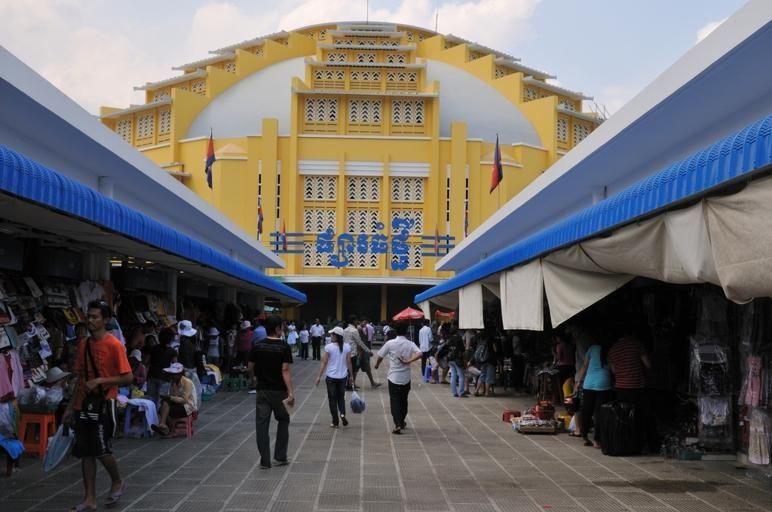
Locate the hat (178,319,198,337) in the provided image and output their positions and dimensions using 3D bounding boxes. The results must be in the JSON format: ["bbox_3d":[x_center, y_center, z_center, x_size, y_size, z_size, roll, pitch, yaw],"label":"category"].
[{"bbox_3d":[-4.773,1.728,15.169,0.448,0.211,0.563,-1,0,-27],"label":"hat"}]

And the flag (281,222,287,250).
[{"bbox_3d":[-7.602,-1.438,47.194,0.498,2.112,0.323,1,-10,2],"label":"flag"}]

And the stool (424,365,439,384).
[{"bbox_3d":[1.669,4.333,23.494,0.549,0.916,0.558,0,-1,-1],"label":"stool"}]

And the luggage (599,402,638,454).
[{"bbox_3d":[4.244,3.075,11.475,0.668,0.930,0.557,-2,-14,0],"label":"luggage"}]

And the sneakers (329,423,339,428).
[{"bbox_3d":[-1.081,3.540,13.414,0.150,0.106,0.196,1,-11,-2],"label":"sneakers"}]

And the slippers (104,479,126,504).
[{"bbox_3d":[-3.644,3.173,8.592,0.139,0.100,0.362,-5,4,0],"label":"slippers"}]

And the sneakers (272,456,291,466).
[{"bbox_3d":[-1.712,3.312,10.401,0.274,0.125,0.097,1,0,-30],"label":"sneakers"}]

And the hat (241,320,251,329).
[{"bbox_3d":[-4.542,2.227,20.726,0.295,0.309,0.363,0,-7,-26],"label":"hat"}]

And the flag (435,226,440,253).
[{"bbox_3d":[3.769,-1.185,47.549,0.282,2.171,0.614,0,-10,5],"label":"flag"}]

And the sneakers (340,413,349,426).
[{"bbox_3d":[-0.896,3.488,13.573,0.114,0.273,0.180,-27,5,-13],"label":"sneakers"}]

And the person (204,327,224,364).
[{"bbox_3d":[-5.496,2.839,20.210,0.500,1.162,1.151,4,-11,-16],"label":"person"}]

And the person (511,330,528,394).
[{"bbox_3d":[4.294,3.415,20.695,0.426,1.857,1.197,-1,-11,10],"label":"person"}]

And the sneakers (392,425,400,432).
[{"bbox_3d":[0.203,3.540,13.136,0.146,0.103,0.267,0,-15,-3],"label":"sneakers"}]

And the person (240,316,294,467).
[{"bbox_3d":[-1.912,2.191,10.506,0.721,2.422,0.950,3,-11,-13],"label":"person"}]

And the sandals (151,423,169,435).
[{"bbox_3d":[-4.257,3.253,12.052,0.323,0.159,0.141,26,33,8],"label":"sandals"}]

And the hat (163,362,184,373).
[{"bbox_3d":[-4.223,2.211,12.684,0.270,0.109,0.172,7,3,-11],"label":"hat"}]

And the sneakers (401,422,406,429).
[{"bbox_3d":[0.371,3.487,13.207,0.135,0.144,0.166,-1,-15,2],"label":"sneakers"}]

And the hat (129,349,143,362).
[{"bbox_3d":[-5.299,2.077,13.498,0.389,0.213,0.302,-2,-15,45],"label":"hat"}]

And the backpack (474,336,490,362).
[{"bbox_3d":[2.861,2.767,18.924,0.385,0.787,0.574,2,-11,-8],"label":"backpack"}]

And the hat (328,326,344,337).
[{"bbox_3d":[-1.128,1.583,13.577,0.391,0.206,0.300,4,-3,22],"label":"hat"}]
